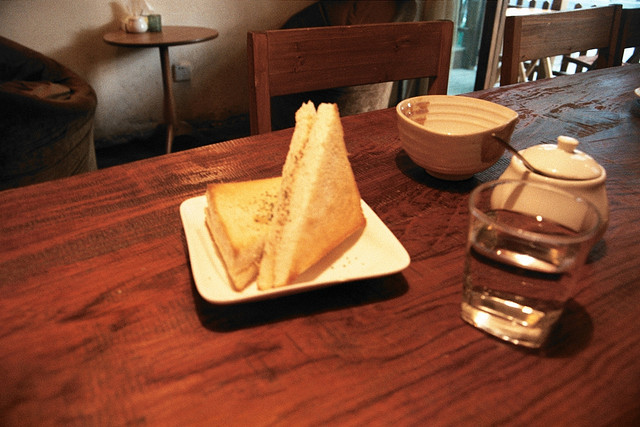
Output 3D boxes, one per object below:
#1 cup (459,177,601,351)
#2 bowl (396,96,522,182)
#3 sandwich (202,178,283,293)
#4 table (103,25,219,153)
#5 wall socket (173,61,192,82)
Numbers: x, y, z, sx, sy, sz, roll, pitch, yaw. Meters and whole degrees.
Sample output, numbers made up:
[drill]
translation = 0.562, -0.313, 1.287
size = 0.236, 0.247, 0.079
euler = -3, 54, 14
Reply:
[cup]
translation = 0.243, 0.060, 0.523
size = 0.134, 0.180, 0.110
euler = 19, 38, 28
[bowl]
translation = 0.227, -0.144, 0.790
size = 0.201, 0.110, 0.188
euler = 5, 30, -3
[sandwich]
translation = -0.111, 0.015, 0.627
size = 0.147, 0.038, 0.144
euler = -11, 46, -22
[table]
translation = -0.931, -0.713, 2.622
size = 0.645, 0.679, 0.659
euler = 19, 28, 36
[wall socket]
translation = -0.914, -0.958, 2.871
size = 0.137, 0.120, 0.033
euler = -10, 19, -42
